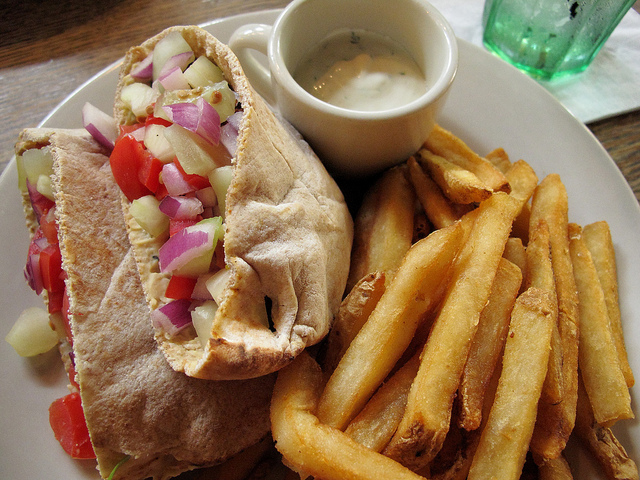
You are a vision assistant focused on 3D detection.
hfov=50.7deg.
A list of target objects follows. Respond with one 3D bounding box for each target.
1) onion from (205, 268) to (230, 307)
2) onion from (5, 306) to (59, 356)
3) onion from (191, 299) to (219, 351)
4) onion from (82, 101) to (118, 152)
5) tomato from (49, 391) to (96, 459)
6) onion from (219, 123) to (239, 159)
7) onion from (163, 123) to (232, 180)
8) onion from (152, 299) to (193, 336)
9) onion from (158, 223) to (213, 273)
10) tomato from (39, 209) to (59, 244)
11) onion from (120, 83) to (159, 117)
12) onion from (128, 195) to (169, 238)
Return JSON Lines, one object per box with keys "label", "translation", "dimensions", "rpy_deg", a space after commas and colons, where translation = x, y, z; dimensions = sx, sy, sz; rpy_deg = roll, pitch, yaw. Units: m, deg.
{"label": "onion", "translation": [-0.399, 0.163, 2.614], "dimensions": [0.095, 0.062, 0.121], "rpy_deg": [33, 78, 8]}
{"label": "onion", "translation": [-1.274, 0.412, 2.977], "dimensions": [0.167, 0.050, 0.222], "rpy_deg": [3, 81, -20]}
{"label": "onion", "translation": [-0.453, 0.304, 2.581], "dimensions": [0.110, 0.192, 0.185], "rpy_deg": [-4, 74, -1]}
{"label": "onion", "translation": [-0.991, -0.495, 3.012], "dimensions": [0.049, 0.176, 0.213], "rpy_deg": [-20, 59, 28]}
{"label": "tomato", "translation": [-1.067, 0.791, 2.887], "dimensions": [0.132, 0.245, 0.318], "rpy_deg": [-9, 109, -30]}
{"label": "onion", "translation": [-0.371, -0.406, 2.729], "dimensions": [0.064, 0.033, 0.136], "rpy_deg": [-22, 79, -8]}
{"label": "onion", "translation": [-0.484, -0.351, 2.705], "dimensions": [0.248, 0.167, 0.222], "rpy_deg": [-5, 109, -16]}
{"label": "onion", "translation": [-0.580, 0.301, 2.671], "dimensions": [0.135, 0.060, 0.127], "rpy_deg": [22, 65, -6]}
{"label": "onion", "translation": [-0.534, 0.043, 2.680], "dimensions": [0.263, 0.159, 0.132], "rpy_deg": [-21, 74, -6]}
{"label": "tomato", "translation": [-1.188, -0.052, 2.950], "dimensions": [0.027, 0.101, 0.152], "rpy_deg": [-4, 86, 6]}
{"label": "onion", "translation": [-0.793, -0.599, 2.973], "dimensions": [0.123, 0.049, 0.165], "rpy_deg": [-14, 66, 7]}
{"label": "onion", "translation": [-0.717, -0.093, 2.829], "dimensions": [0.082, 0.140, 0.157], "rpy_deg": [-31, 92, -4]}
